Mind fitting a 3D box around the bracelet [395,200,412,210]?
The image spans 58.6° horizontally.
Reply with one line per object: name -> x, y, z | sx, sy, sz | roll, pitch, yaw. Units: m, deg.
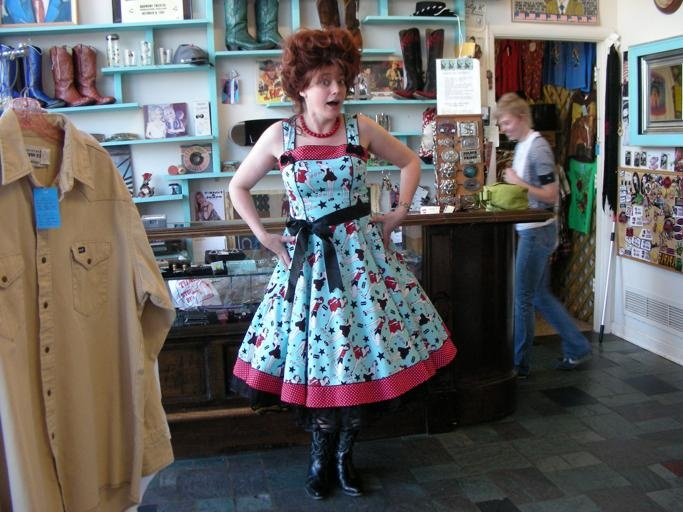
bracelet -> 0.282, -0.236, 2.817 | 0.082, 0.058, 0.109 | 2, 4, 2

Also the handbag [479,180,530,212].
handbag -> 0.927, -0.344, 3.527 | 0.154, 0.120, 0.212 | -1, 10, -11

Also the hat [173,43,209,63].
hat -> -1.099, -1.472, 4.432 | 0.255, 0.158, 0.188 | -3, 12, -12

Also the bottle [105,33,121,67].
bottle -> -1.654, -1.500, 4.429 | 0.084, 0.247, 0.136 | -5, 12, -19

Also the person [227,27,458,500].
person -> -0.009, -0.105, 2.636 | 0.958, 1.692, 0.506 | -3, 11, -12

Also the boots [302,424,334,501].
boots -> -0.108, 0.976, 2.918 | 0.123, 0.273, 0.343 | 6, 6, -1

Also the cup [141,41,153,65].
cup -> -1.419, -1.478, 4.432 | 0.075, 0.168, 0.068 | -1, 11, 0

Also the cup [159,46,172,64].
cup -> -1.293, -1.466, 4.457 | 0.112, 0.128, 0.120 | 1, 10, 0

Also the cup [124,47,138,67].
cup -> -1.526, -1.444, 4.409 | 0.115, 0.122, 0.105 | 0, 10, 0
